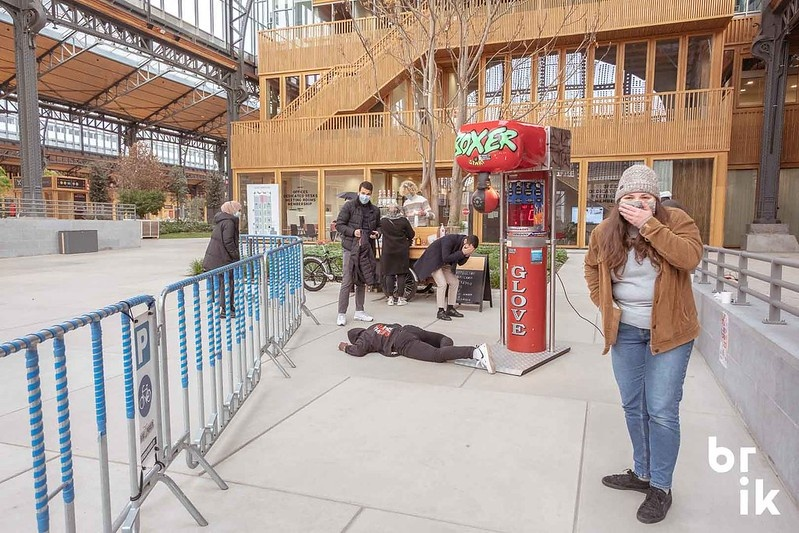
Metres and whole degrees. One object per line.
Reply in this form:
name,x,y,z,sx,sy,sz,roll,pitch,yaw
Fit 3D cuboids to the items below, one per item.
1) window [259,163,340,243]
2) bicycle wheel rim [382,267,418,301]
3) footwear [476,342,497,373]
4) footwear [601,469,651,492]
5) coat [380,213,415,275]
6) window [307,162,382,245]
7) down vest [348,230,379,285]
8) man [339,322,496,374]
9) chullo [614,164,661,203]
window,-3.628,-2.435,21.005,3.138,4.094,0.159,0,4,16
bicycle wheel rim,0.046,0.342,10.976,0.594,0.653,0.191,3,5,34
footwear,1.088,1.174,7.130,0.264,0.349,0.199,-1,8,8
footwear,1.964,1.872,4.862,0.381,0.165,0.148,2,4,18
coat,-0.094,-0.407,10.654,0.648,1.803,0.578,-4,28,-7
window,-1.948,-2.454,22.478,2.452,3.695,2.587,0,7,-2
down vest,-0.593,-0.144,9.275,0.431,0.950,0.248,1,-18,-12
man,0.232,1.071,7.523,1.518,0.333,0.818,7,0,32
chullo,2.000,-0.658,4.733,0.298,0.286,0.324,1,-1,18
